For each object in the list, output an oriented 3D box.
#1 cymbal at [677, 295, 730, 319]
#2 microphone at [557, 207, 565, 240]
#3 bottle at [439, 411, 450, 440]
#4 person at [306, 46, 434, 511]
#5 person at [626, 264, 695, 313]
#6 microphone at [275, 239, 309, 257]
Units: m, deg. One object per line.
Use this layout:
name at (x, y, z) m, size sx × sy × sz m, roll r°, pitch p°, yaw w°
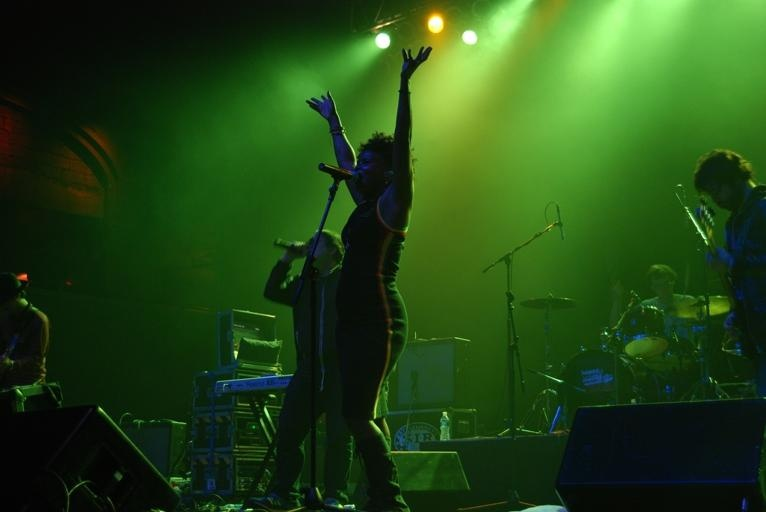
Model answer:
cymbal at (3.885, 0.655, 10.016) m, size 0.466 × 0.185 × 0.481 m, roll -13°, pitch -6°, yaw -10°
microphone at (2.451, -0.447, 11.276) m, size 0.066 × 0.526 × 0.133 m, roll -6°, pitch 4°, yaw -11°
bottle at (0.783, 2.141, 10.274) m, size 0.129 × 0.349 × 0.428 m, roll -2°, pitch -15°, yaw 4°
person at (-0.057, 0.178, 6.857) m, size 0.528 × 3.812 × 1.262 m, roll 7°, pitch -16°, yaw -29°
person at (3.775, 0.435, 10.930) m, size 0.706 × 0.651 × 0.563 m, roll -6°, pitch 3°, yaw 25°
microphone at (-0.822, -0.051, 7.861) m, size 0.142 × 0.193 × 0.553 m, roll 15°, pitch 3°, yaw 12°
